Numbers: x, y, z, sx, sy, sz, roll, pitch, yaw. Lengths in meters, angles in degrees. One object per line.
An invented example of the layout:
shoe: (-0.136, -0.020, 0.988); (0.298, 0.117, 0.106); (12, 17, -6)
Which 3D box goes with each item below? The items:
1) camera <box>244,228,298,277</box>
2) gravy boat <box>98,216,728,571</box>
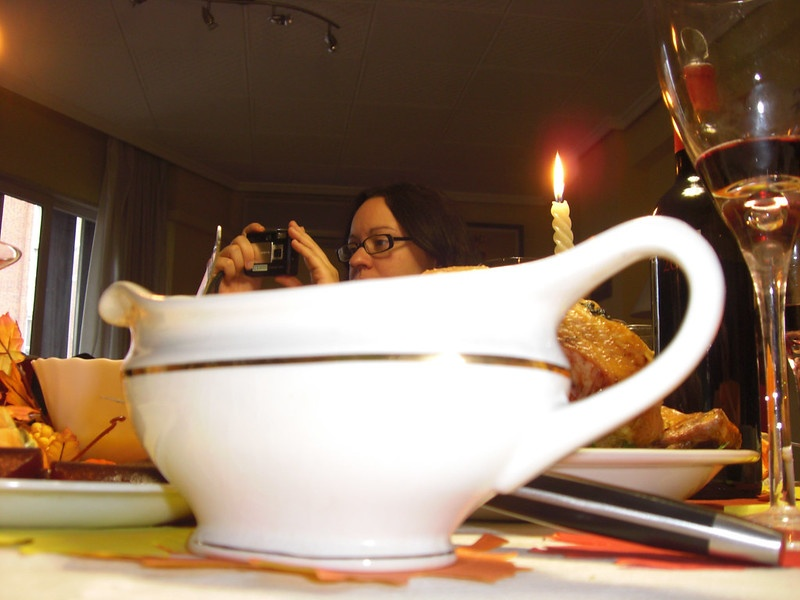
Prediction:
camera: (-0.365, -0.126, 1.721); (0.050, 0.124, 0.165); (1, -4, 31)
gravy boat: (0.013, 0.040, 0.333); (0.248, 0.116, 0.144); (1, -10, 9)
